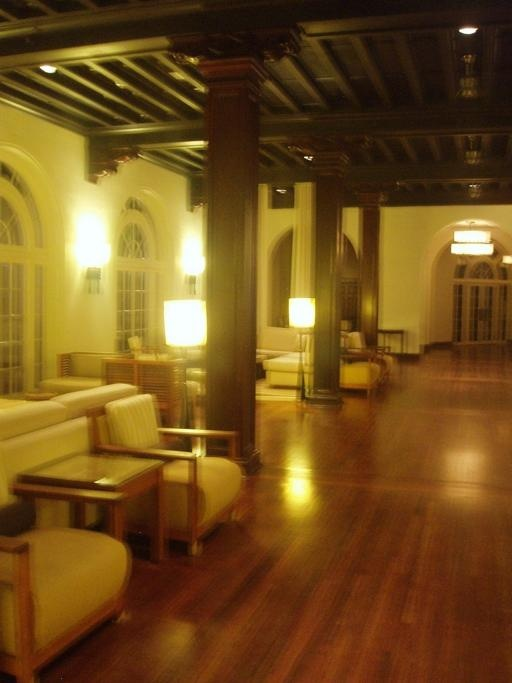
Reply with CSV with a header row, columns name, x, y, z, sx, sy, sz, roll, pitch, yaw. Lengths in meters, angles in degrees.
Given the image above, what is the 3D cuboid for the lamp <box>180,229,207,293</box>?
name,x,y,z,sx,sy,sz,roll,pitch,yaw
lamp,-1.345,-1.656,11.450,0.463,1.182,0.774,1,0,-2

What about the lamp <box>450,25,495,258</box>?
name,x,y,z,sx,sy,sz,roll,pitch,yaw
lamp,3.207,-2.775,7.989,0.825,4.157,0.849,0,10,21

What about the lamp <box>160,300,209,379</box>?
name,x,y,z,sx,sy,sz,roll,pitch,yaw
lamp,-0.573,-0.064,4.205,0.354,0.602,0.358,5,12,4

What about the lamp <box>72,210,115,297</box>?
name,x,y,z,sx,sy,sz,roll,pitch,yaw
lamp,-2.472,-1.355,8.292,0.281,0.929,0.807,1,0,11
